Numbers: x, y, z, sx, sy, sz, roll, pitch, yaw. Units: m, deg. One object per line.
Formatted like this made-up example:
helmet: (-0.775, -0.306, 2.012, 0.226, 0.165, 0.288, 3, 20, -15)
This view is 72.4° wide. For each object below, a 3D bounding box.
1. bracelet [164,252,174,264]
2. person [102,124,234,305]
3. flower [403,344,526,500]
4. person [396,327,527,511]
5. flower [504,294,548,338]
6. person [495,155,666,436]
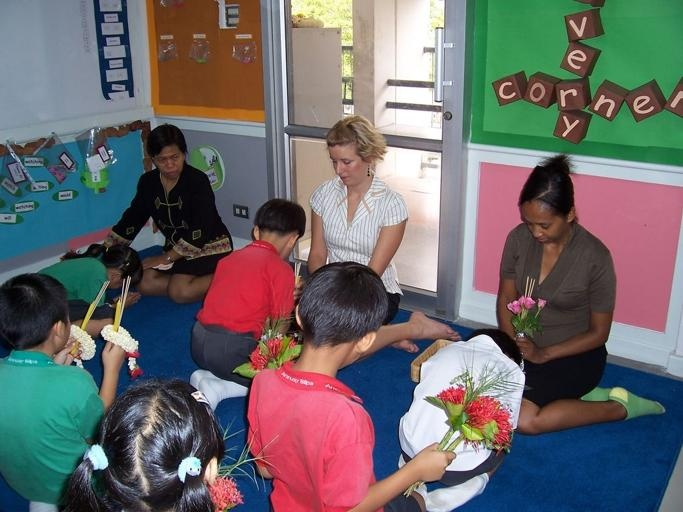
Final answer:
bracelet: (-1.398, 0.002, 3.799, 0.078, 0.116, 0.050, 6, 17, 8)
person: (-1.414, -0.420, 3.762, 0.881, 1.314, 0.852, 5, 18, 7)
flower: (0.576, 0.563, 2.090, 0.336, 0.389, 0.910, 18, 54, 16)
person: (0.491, 0.716, 2.068, 0.399, 0.952, 0.360, 23, -9, 8)
flower: (0.983, 0.321, 2.509, 0.136, 0.203, 0.146, -2, 7, 27)
person: (1.261, 0.194, 2.461, 0.721, 1.365, 0.608, 1, 18, -1)
